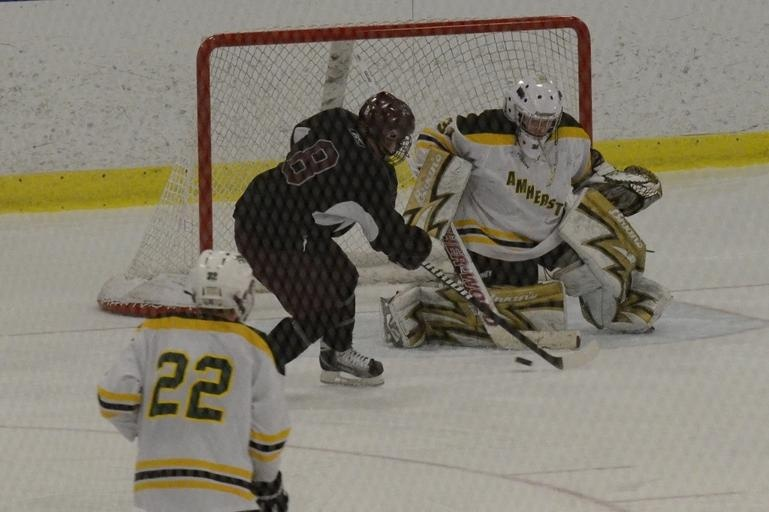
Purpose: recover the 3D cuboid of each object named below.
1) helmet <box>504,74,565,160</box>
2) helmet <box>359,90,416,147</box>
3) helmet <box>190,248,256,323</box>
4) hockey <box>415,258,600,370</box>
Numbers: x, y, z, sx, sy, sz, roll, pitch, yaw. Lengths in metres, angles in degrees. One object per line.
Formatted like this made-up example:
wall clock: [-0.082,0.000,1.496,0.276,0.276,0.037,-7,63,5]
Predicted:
helmet: [0.963,-0.877,8.911,0.410,0.495,0.484,-6,54,-11]
helmet: [0.024,-0.821,8.528,0.367,0.301,0.281,29,68,13]
helmet: [-0.892,0.152,7.932,0.362,0.367,0.398,5,36,3]
hockey: [0.799,0.405,8.928,1.175,0.169,0.163,35,3,36]
